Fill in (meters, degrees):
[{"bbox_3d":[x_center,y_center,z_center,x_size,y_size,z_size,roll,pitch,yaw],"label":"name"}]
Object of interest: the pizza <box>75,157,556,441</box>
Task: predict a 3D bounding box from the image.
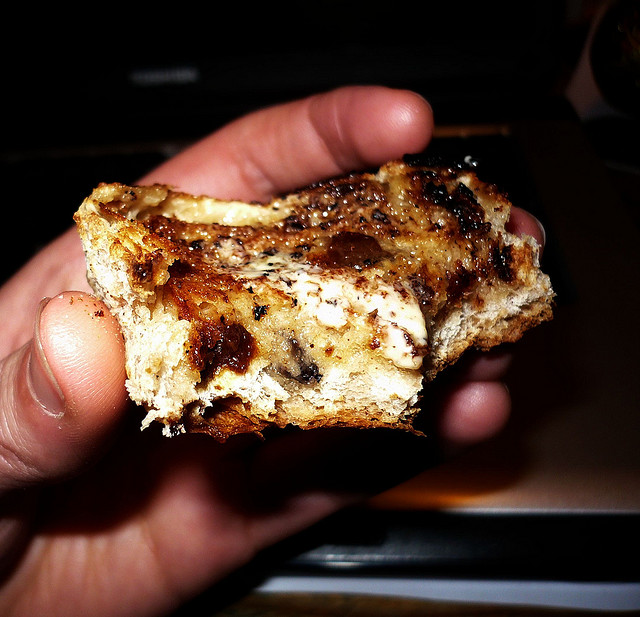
[{"bbox_3d":[-0.037,-0.027,1.713,1.049,0.283,0.619,-3,66,-15],"label":"pizza"}]
